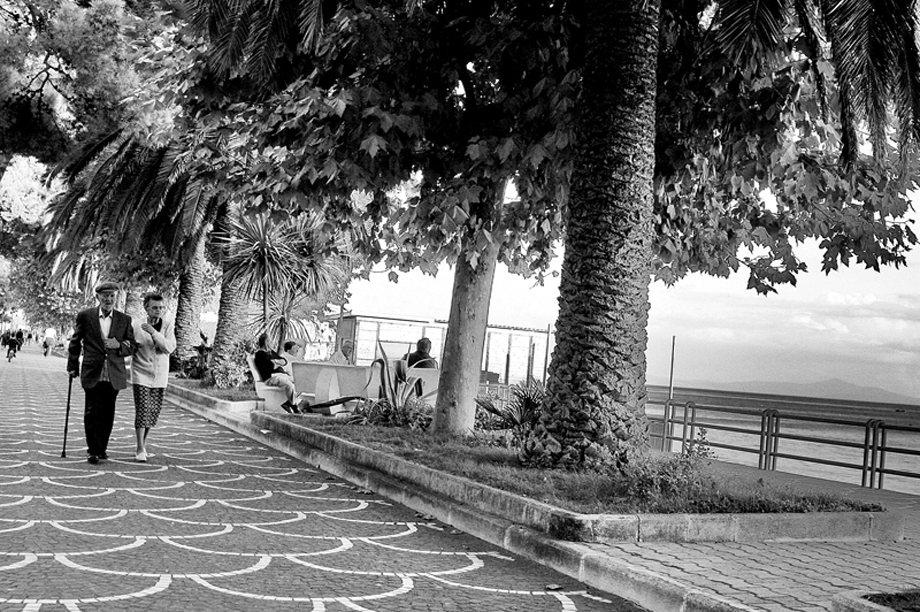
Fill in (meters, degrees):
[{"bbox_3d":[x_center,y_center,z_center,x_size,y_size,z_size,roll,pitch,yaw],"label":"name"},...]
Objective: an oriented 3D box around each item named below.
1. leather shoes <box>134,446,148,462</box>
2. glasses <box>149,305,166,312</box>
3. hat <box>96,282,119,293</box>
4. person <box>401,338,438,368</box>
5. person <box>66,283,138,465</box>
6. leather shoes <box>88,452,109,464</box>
[{"bbox_3d":[-5.098,2.376,11.143,0.162,0.182,0.465,0,-6,-21],"label":"leather shoes"},{"bbox_3d":[-4.818,0.030,11.067,0.195,0.107,0.241,5,-4,-30],"label":"glasses"},{"bbox_3d":[-5.375,-0.282,10.608,0.293,0.188,0.459,5,-4,-27],"label":"hat"},{"bbox_3d":[-1.133,1.241,18.417,0.754,0.759,0.414,10,19,13],"label":"person"},{"bbox_3d":[-5.549,1.027,10.781,0.922,2.733,0.942,5,-4,-43],"label":"person"},{"bbox_3d":[-5.586,2.343,10.719,0.127,0.181,0.402,2,-15,-14],"label":"leather shoes"}]
